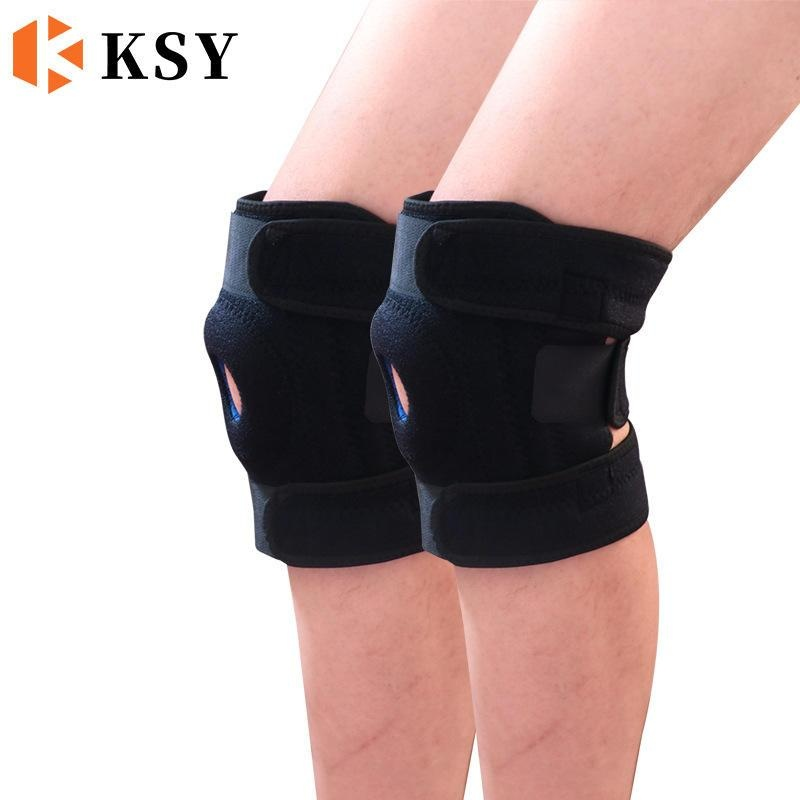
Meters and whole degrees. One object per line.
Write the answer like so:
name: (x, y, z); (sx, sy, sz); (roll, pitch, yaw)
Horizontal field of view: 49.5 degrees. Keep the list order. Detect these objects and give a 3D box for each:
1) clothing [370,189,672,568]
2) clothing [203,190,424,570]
clothing: (0.090, -0.017, 0.949); (0.326, 0.334, 0.340); (1, 7, 45)
clothing: (-0.051, -0.022, 1.171); (0.382, 0.423, 0.320); (2, 1, 3)
